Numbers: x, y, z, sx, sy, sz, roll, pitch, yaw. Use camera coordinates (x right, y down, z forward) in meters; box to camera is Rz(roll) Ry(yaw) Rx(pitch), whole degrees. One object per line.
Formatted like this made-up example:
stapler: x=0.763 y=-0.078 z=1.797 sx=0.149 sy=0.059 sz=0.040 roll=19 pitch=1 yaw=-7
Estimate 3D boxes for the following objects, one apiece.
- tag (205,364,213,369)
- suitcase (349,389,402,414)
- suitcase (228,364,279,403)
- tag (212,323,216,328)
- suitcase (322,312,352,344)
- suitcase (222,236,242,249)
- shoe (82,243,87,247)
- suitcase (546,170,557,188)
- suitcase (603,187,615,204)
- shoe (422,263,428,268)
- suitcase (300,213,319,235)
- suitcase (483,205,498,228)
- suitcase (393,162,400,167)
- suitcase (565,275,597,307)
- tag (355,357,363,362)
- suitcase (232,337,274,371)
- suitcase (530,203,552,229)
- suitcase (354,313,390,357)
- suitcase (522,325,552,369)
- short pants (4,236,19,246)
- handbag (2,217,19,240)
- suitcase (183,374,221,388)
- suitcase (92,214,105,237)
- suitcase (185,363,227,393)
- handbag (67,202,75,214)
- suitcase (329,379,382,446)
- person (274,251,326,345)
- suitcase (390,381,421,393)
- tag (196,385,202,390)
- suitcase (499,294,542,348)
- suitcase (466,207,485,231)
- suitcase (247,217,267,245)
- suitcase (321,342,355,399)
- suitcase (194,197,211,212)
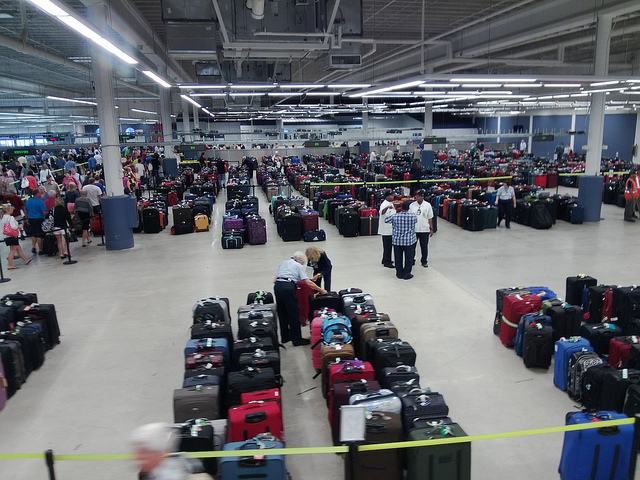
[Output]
tag: x=-1.635 y=1.865 z=7.203 sx=0.058 sy=0.053 sz=0.068 roll=9 pitch=-4 yaw=13
suitcase: x=0.755 y=2.110 z=6.416 sx=0.517 sy=0.333 sz=0.360 roll=-3 pitch=11 yaw=-8
suitcase: x=-0.921 y=1.947 z=6.932 sx=0.737 sy=0.683 sz=0.402 roll=0 pitch=24 yaw=-2
tag: x=-1.803 y=1.452 z=8.298 sx=0.044 sy=0.075 sz=0.045 roll=-8 pitch=13 yaw=-38
suitcase: x=0.284 y=1.463 z=8.099 sx=0.336 sy=0.435 sz=0.444 roll=0 pitch=6 yaw=-2
suitcase: x=-2.791 y=0.119 z=15.493 sx=0.534 sy=0.329 sz=0.373 roll=-1 pitch=3 yaw=-8
shoe: x=-7.753 y=0.186 z=16.114 sx=0.119 sy=0.133 sz=0.354 roll=-2 pitch=2 yaw=-13
suitcase: x=12.719 y=-3.286 z=26.899 sx=0.475 sy=0.870 sz=0.646 roll=5 pitch=13 yaw=31
suitcase: x=12.791 y=-1.941 z=21.710 sx=0.436 sy=0.723 sz=0.222 roll=6 pitch=14 yaw=36
shoe: x=2.796 y=0.691 z=13.106 sx=0.124 sy=0.106 sz=0.281 roll=-1 pitch=0 yaw=2
suitcase: x=-0.385 y=-0.527 z=16.232 sx=0.689 sy=0.998 sz=0.365 roll=-1 pitch=17 yaw=-8
suitcase: x=6.020 y=-0.780 z=17.298 sx=0.703 sy=0.778 sz=0.226 roll=-7 pitch=12 yaw=-24
suitcase: x=5.107 y=-5.059 z=32.702 sx=0.503 sy=0.165 sz=0.483 roll=0 pitch=12 yaw=5
suitcase: x=5.112 y=1.022 z=9.595 sx=0.533 sy=0.829 sz=0.305 roll=-2 pitch=20 yaw=3
tag: x=0.606 y=1.920 z=7.844 sx=0.104 sy=0.023 sz=0.103 roll=1 pitch=6 yaw=-27
suitcase: x=-1.022 y=1.765 z=7.457 sx=0.499 sy=0.450 sz=0.203 roll=-1 pitch=7 yaw=-16
suitcase: x=7.714 y=-0.823 z=17.107 sx=0.587 sy=0.856 sz=0.559 roll=-1 pitch=11 yaw=2
suitcase: x=0.840 y=1.593 z=8.026 sx=0.668 sy=0.919 sz=0.521 roll=-1 pitch=6 yaw=-6
suitcase: x=3.701 y=1.825 z=8.441 sx=0.522 sy=0.706 sz=0.468 roll=0 pitch=5 yaw=-14
short pants: x=-8.246 y=0.049 z=13.087 sx=0.347 sy=0.237 sz=0.452 roll=-2 pitch=-5 yaw=-7
handbag: x=-8.162 y=-0.292 z=12.900 sx=0.190 sy=0.601 sz=0.569 roll=-8 pitch=-8 yaw=23
suitcase: x=-1.682 y=1.994 z=6.930 sx=0.391 sy=0.355 sz=0.129 roll=0 pitch=51 yaw=-2
suitcase: x=-7.864 y=-0.489 z=17.195 sx=0.281 sy=0.833 sz=0.474 roll=-13 pitch=15 yaw=-43
suitcase: x=-1.625 y=1.933 z=7.222 sx=0.664 sy=0.568 sz=0.327 roll=3 pitch=24 yaw=0
handbag: x=-7.995 y=-0.997 z=15.713 sx=0.220 sy=0.372 sz=0.220 roll=-10 pitch=14 yaw=-37
suitcase: x=0.409 y=2.278 z=6.941 sx=0.727 sy=0.791 sz=0.473 roll=-1 pitch=21 yaw=-17
person: x=-0.457 y=1.131 z=8.920 sx=0.858 sy=1.714 sz=0.611 roll=-7 pitch=12 yaw=-22
suitcase: x=1.152 y=2.060 z=6.837 sx=0.380 sy=0.116 sz=0.343 roll=4 pitch=-32 yaw=-18
tag: x=-1.675 y=2.036 z=6.731 sx=0.066 sy=0.054 sz=0.035 roll=0 pitch=-3 yaw=-9
suitcase: x=3.675 y=1.471 z=9.099 sx=0.750 sy=1.000 sz=0.574 roll=-4 pitch=24 yaw=-6
suitcase: x=5.458 y=-0.715 z=17.131 sx=0.577 sy=0.814 sz=0.266 roll=1 pitch=12 yaw=12
suitcase: x=-2.071 y=-0.268 z=15.861 sx=0.768 sy=1.158 sz=0.651 roll=-3 pitch=18 yaw=-6
suitcase: x=0.232 y=2.025 z=7.621 sx=0.581 sy=0.792 sz=0.456 roll=-4 pitch=-35 yaw=3
suitcase: x=-4.586 y=-1.409 z=18.963 sx=0.695 sy=0.494 sz=0.702 roll=-6 pitch=-1 yaw=16
